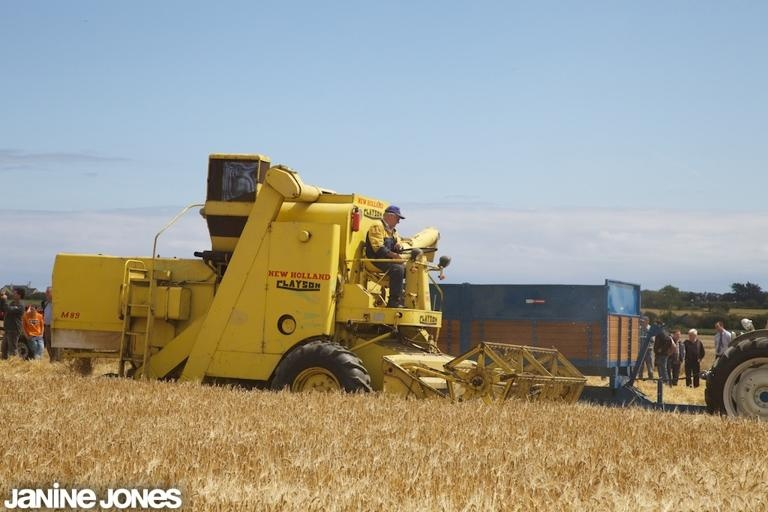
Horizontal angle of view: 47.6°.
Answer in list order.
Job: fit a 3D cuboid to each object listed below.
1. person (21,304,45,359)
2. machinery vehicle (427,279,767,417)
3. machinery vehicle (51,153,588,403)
[{"bbox_3d":[-8.593,1.807,21.237,0.504,1.279,0.752,4,-4,-22],"label":"person"},{"bbox_3d":[3.559,1.379,17.357,6.061,2.665,3.274,2,-1,20],"label":"machinery vehicle"},{"bbox_3d":[-1.060,0.319,16.239,9.128,4.107,4.435,-1,-1,16],"label":"machinery vehicle"}]
